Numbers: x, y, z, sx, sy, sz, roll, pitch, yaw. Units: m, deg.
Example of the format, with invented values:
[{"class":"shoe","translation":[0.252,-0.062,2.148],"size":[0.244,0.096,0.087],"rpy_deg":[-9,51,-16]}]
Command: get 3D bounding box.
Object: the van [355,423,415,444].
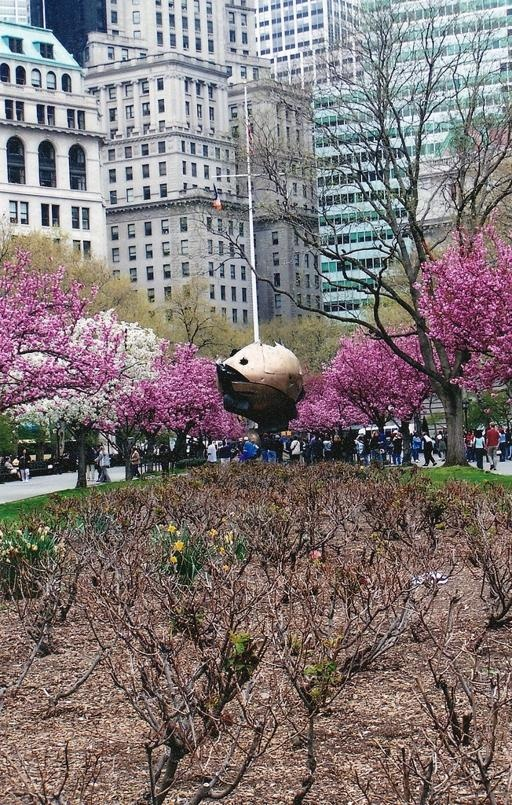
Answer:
[{"class":"van","translation":[4.670,1.110,47.570],"size":[2.497,0.772,0.752],"rpy_deg":[-3,1,40]}]
